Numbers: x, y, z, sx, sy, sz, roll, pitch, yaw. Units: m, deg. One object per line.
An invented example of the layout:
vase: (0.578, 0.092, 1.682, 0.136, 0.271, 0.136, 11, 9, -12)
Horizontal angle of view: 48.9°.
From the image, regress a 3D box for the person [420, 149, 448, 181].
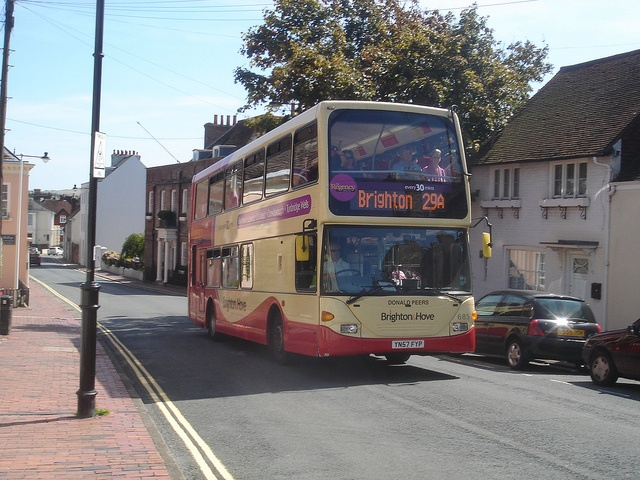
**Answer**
person: (2.429, -1.556, 14.855, 0.554, 0.772, 0.289, 11, -23, -17)

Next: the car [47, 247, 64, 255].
car: (-45.260, 1.622, 119.889, 2.156, 1.074, 1.469, -5, 5, -38)
